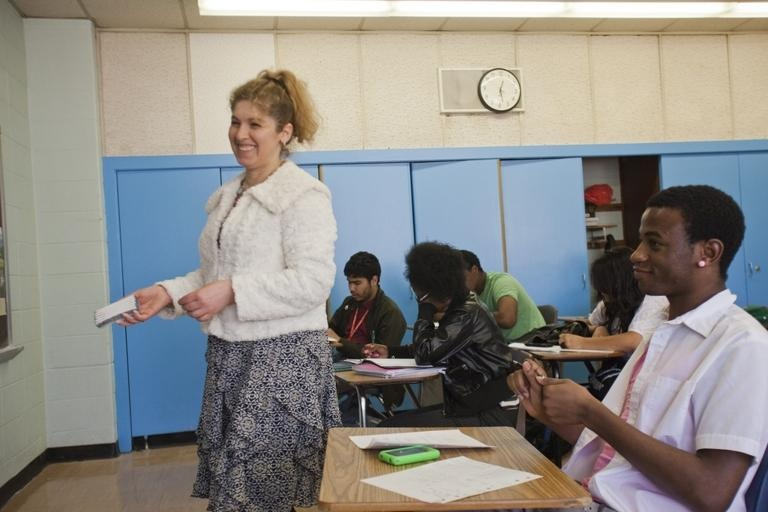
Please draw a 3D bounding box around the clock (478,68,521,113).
[{"bbox_3d":[1.084,-1.524,5.549,0.433,0.403,0.101,22,-3,-14],"label":"clock"}]

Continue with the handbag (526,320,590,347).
[{"bbox_3d":[1.178,0.534,4.020,0.344,0.114,0.283,-5,-1,-11],"label":"handbag"}]

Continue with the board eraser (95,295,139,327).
[{"bbox_3d":[-1.054,0.238,2.346,0.186,0.096,0.048,-22,-39,-10],"label":"board eraser"}]
